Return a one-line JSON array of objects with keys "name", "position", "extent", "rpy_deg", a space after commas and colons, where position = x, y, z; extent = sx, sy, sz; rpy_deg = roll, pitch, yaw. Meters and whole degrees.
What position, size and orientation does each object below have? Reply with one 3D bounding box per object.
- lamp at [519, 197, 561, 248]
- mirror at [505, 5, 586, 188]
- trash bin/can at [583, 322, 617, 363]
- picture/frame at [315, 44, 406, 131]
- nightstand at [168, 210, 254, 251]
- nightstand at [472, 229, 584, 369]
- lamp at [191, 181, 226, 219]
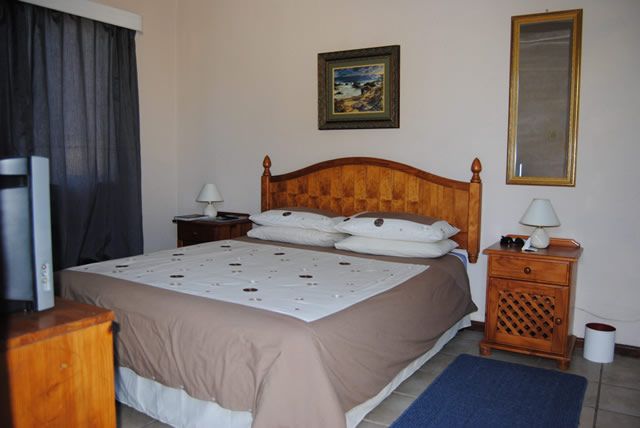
[{"name": "lamp", "position": [1.840, 0.088, 3.952], "extent": [0.314, 0.426, 0.311], "rpy_deg": [-4, 8, -5]}, {"name": "mirror", "position": [1.956, -1.003, 4.125], "extent": [0.642, 1.486, 0.311], "rpy_deg": [5, 15, 18]}, {"name": "trash bin/can", "position": [2.339, 1.061, 3.939], "extent": [0.325, 0.242, 0.319], "rpy_deg": [3, 7, 17]}, {"name": "picture/frame", "position": [0.446, -1.292, 4.782], "extent": [1.002, 0.803, 0.070], "rpy_deg": [1, 2, 27]}, {"name": "nightstand", "position": [-1.243, 0.344, 5.377], "extent": [0.662, 0.655, 0.468], "rpy_deg": [6, 12, 29]}, {"name": "nightstand", "position": [1.844, 0.735, 4.077], "extent": [0.796, 0.929, 0.740], "rpy_deg": [6, 6, 43]}, {"name": "lamp", "position": [-1.280, -0.145, 5.419], "extent": [0.306, 0.412, 0.308], "rpy_deg": [-1, 3, -26]}]
